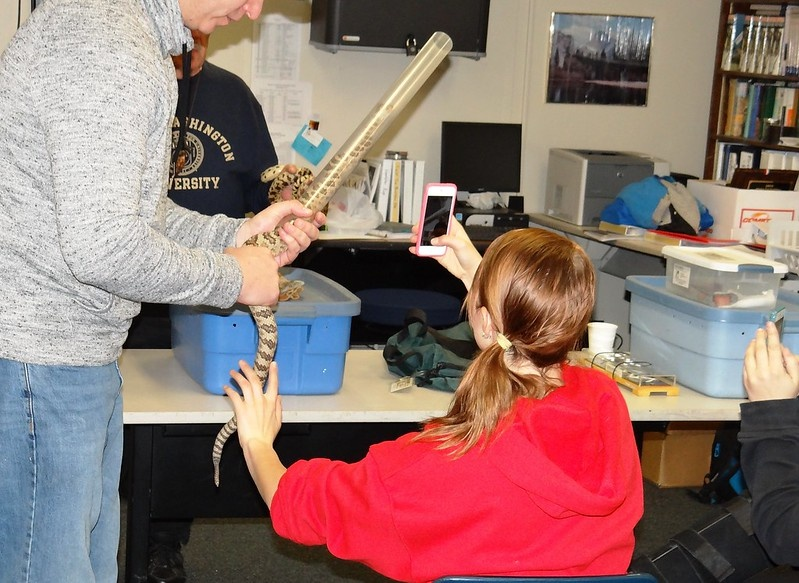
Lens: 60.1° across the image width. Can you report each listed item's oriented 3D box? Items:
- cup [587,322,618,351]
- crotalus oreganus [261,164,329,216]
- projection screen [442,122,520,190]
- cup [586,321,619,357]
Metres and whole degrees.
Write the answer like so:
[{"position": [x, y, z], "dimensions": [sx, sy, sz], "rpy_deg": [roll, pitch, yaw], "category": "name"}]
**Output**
[{"position": [0.792, 0.178, 2.719], "dimensions": [0.118, 0.093, 0.112], "rpy_deg": [2, 11, 0], "category": "cup"}, {"position": [-0.515, -0.579, 3.551], "dimensions": [0.283, 0.127, 0.362], "rpy_deg": [-14, 11, -43], "category": "crotalus oreganus"}, {"position": [0.625, -1.042, 5.351], "dimensions": [0.640, 0.539, 0.059], "rpy_deg": [2, -2, 4], "category": "projection screen"}, {"position": [0.789, 0.178, 2.727], "dimensions": [0.126, 0.098, 0.119], "rpy_deg": [1, 14, 0], "category": "cup"}]
